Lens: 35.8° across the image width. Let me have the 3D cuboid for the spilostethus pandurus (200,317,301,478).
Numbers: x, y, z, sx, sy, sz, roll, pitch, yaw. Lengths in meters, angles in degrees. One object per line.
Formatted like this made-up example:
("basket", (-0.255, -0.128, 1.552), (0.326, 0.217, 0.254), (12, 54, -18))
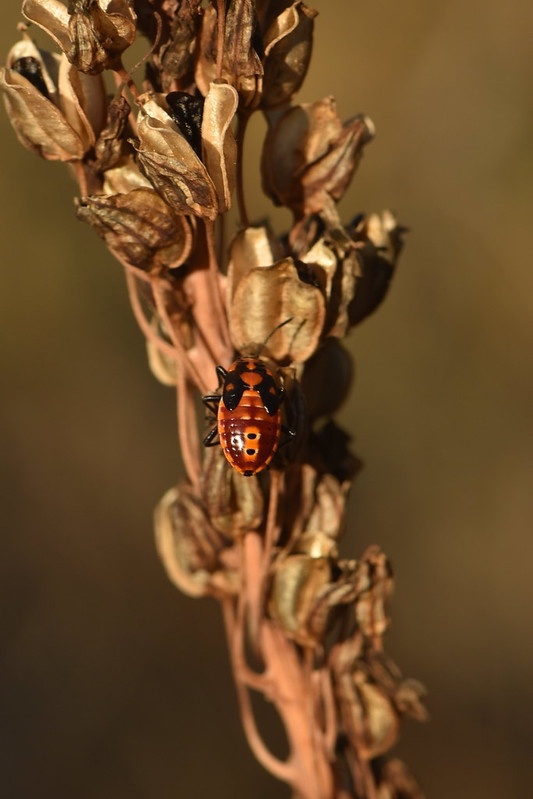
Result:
("spilostethus pandurus", (-0.013, 0.000, 0.475), (0.061, 0.091, 0.031), (1, -14, 6))
